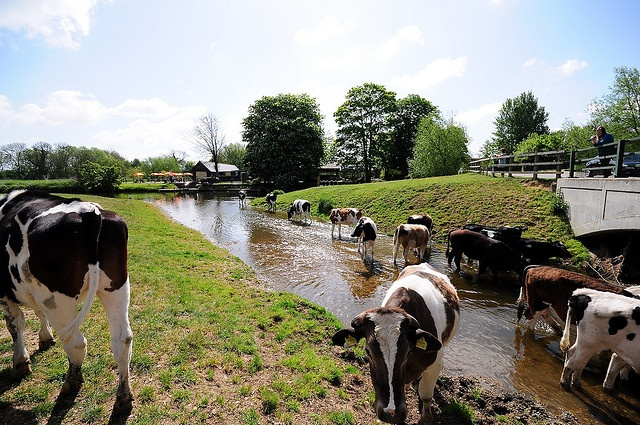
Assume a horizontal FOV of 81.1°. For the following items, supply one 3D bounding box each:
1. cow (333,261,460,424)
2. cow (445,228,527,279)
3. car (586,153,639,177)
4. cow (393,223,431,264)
[{"bbox_3d":[1.801,2.937,8.716,1.730,2.820,5.185,-4,-13,20],"label":"cow"},{"bbox_3d":[7.410,1.607,16.132,1.178,2.126,3.771,-31,30,-33],"label":"cow"},{"bbox_3d":[12.780,-2.075,16.254,0.995,0.799,1.636,-1,13,-2],"label":"car"},{"bbox_3d":[4.215,1.478,17.824,1.875,1.735,1.376,-9,13,-44],"label":"cow"}]
